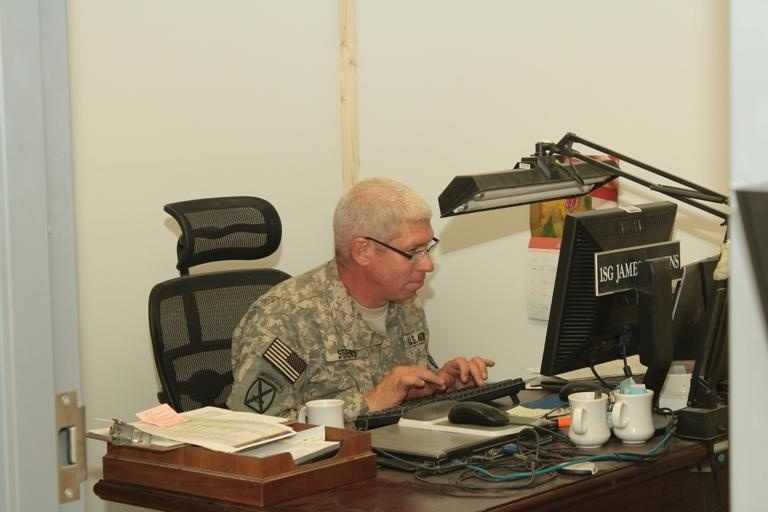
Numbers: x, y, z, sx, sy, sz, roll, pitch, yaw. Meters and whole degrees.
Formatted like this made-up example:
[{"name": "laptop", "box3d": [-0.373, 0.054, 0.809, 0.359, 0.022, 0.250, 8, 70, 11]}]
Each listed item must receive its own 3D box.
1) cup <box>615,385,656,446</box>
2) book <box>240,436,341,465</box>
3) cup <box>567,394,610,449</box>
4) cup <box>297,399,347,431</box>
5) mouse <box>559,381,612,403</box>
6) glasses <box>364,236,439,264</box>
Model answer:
[{"name": "cup", "box3d": [0.546, 0.354, 1.479, 0.097, 0.106, 0.134, 2, 4, 32]}, {"name": "book", "box3d": [-0.173, 0.391, 1.353, 0.083, 0.017, 0.087, 2, 2, 31]}, {"name": "cup", "box3d": [0.469, 0.362, 1.485, 0.095, 0.095, 0.126, 1, 6, 22]}, {"name": "cup", "box3d": [-0.140, 0.363, 1.537, 0.096, 0.054, 0.064, -2, 2, -4]}, {"name": "mouse", "box3d": [0.534, 0.343, 1.781, 0.130, 0.042, 0.078, -4, 4, -35]}, {"name": "glasses", "box3d": [0.042, -0.024, 2.101, 0.139, 0.031, 0.130, 20, 7, 22]}]
